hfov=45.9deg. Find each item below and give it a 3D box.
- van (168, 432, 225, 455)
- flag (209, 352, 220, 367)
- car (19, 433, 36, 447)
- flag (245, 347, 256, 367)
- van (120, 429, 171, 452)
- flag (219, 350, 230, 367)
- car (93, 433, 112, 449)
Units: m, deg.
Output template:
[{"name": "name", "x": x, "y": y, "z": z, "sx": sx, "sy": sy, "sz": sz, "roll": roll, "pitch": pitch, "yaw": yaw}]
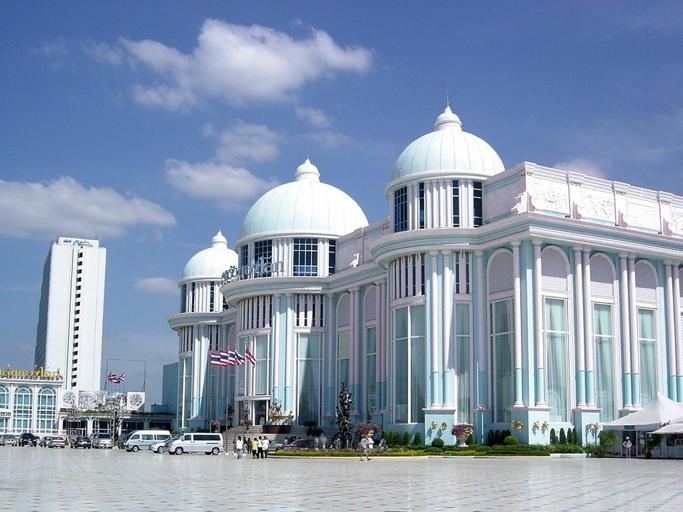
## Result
[{"name": "van", "x": -11.566, "y": 14.852, "z": 63.296, "sx": 3.662, "sy": 1.520, "sz": 1.959, "roll": 10, "pitch": -29, "yaw": -16}, {"name": "flag", "x": -11.370, "y": 9.089, "z": 72.208, "sx": 0.994, "sy": 1.163, "sz": 1.521, "roll": 1, "pitch": -15, "yaw": -8}, {"name": "car", "x": -38.170, "y": 22.282, "z": 97.480, "sx": 1.486, "sy": 1.452, "sz": 2.565, "roll": 6, "pitch": -18, "yaw": -25}, {"name": "flag", "x": -8.504, "y": 9.239, "z": 74.143, "sx": 0.871, "sy": 1.675, "sz": 2.813, "roll": 0, "pitch": -15, "yaw": -4}, {"name": "van", "x": -17.041, "y": 16.049, "z": 70.128, "sx": 3.338, "sy": 1.777, "sz": 2.121, "roll": 6, "pitch": -18, "yaw": -18}, {"name": "flag", "x": -10.730, "y": 9.187, "z": 73.160, "sx": 0.850, "sy": 1.586, "sz": 3.333, "roll": 1, "pitch": -15, "yaw": -9}, {"name": "car", "x": -24.522, "y": 19.125, "z": 83.126, "sx": 1.684, "sy": 1.503, "sz": 2.963, "roll": 8, "pitch": -25, "yaw": -24}]
